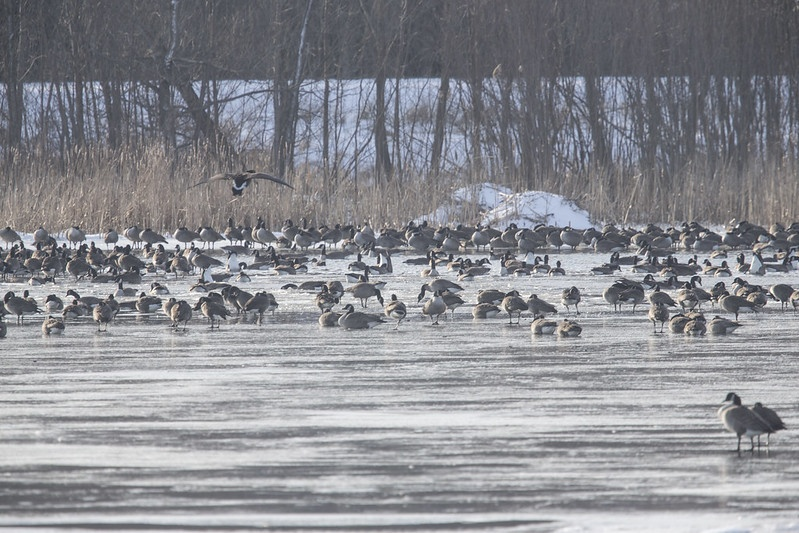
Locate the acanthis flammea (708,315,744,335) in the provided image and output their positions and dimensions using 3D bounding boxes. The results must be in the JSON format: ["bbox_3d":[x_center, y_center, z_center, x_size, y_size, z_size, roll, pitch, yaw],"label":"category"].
[{"bbox_3d":[10.205,1.924,61.754,0.433,0.708,1.260,-4,2,-29],"label":"acanthis flammea"}]

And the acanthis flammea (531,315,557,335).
[{"bbox_3d":[4.541,1.924,61.847,0.444,0.523,0.788,-2,0,-11],"label":"acanthis flammea"}]

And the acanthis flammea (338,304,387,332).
[{"bbox_3d":[-1.283,1.713,62.492,1.238,0.791,0.670,1,-4,10],"label":"acanthis flammea"}]

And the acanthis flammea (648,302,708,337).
[{"bbox_3d":[9.127,1.671,61.775,2.130,1.136,0.784,-1,7,38],"label":"acanthis flammea"}]

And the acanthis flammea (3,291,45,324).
[{"bbox_3d":[-12.499,1.320,63.613,1.203,0.881,1.190,-1,11,-1],"label":"acanthis flammea"}]

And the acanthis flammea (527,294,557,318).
[{"bbox_3d":[4.620,1.320,63.096,0.957,0.792,1.045,0,11,3],"label":"acanthis flammea"}]

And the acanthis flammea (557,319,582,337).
[{"bbox_3d":[5.325,1.989,61.463,0.443,0.503,0.756,-2,2,-6],"label":"acanthis flammea"}]
